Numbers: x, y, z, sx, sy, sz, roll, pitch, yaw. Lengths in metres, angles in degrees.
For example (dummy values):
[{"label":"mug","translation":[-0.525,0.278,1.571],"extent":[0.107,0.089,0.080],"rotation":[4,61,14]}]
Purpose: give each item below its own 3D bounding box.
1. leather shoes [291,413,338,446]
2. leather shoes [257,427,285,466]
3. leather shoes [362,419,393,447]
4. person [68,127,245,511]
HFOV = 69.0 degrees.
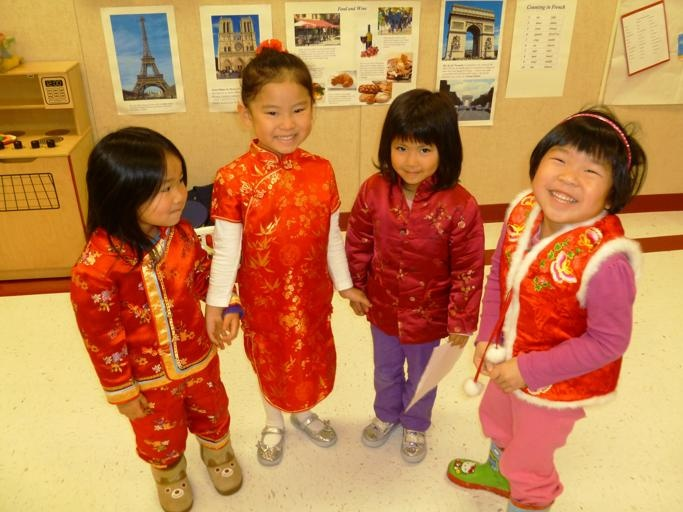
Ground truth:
[{"label":"leather shoes","translation":[-0.132,0.780,2.287],"extent":[0.214,0.077,0.100],"rotation":[27,44,20]},{"label":"leather shoes","translation":[-0.317,0.833,2.164],"extent":[0.087,0.062,0.172],"rotation":[1,44,0]},{"label":"leather shoes","translation":[0.158,0.796,2.228],"extent":[0.078,0.066,0.170],"rotation":[25,33,34]},{"label":"person","translation":[-0.660,0.299,1.798],"extent":[0.461,1.473,0.292],"rotation":[-11,23,-20]}]
